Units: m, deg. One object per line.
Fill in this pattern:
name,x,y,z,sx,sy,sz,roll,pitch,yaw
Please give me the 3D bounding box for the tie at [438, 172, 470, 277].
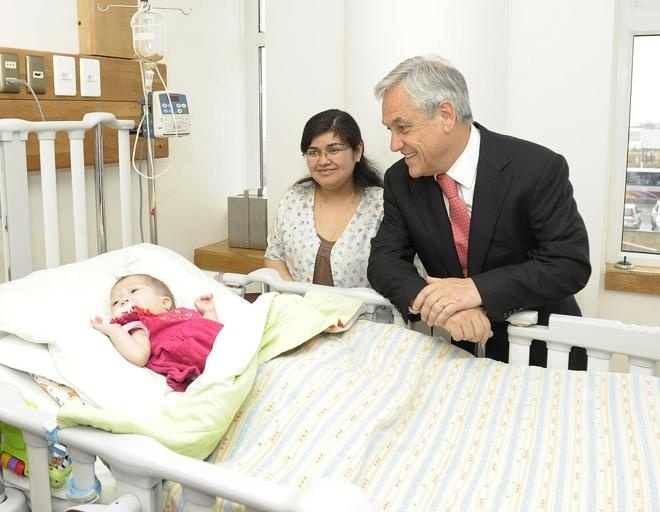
tie,0.458,-0.119,1.791,0.069,0.471,0.050,-10,6,21
